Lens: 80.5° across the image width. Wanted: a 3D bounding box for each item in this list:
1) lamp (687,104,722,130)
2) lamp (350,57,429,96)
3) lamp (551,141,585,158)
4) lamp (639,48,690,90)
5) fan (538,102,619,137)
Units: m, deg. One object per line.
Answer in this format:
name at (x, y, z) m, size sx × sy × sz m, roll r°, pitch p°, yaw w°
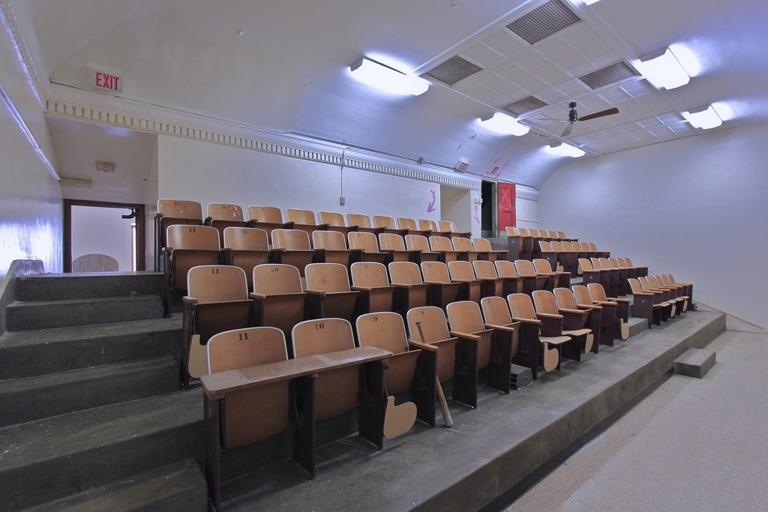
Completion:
lamp at (6.404, -2.766, 9.138) m, size 0.538 × 0.193 × 1.188 m, roll -4°, pitch -1°, yaw 44°
lamp at (0.062, -2.885, 7.333) m, size 1.276 × 0.275 × 0.477 m, roll -2°, pitch -1°, yaw -39°
lamp at (4.565, -2.666, 11.463) m, size 0.696 × 0.285 × 1.033 m, roll -4°, pitch -1°, yaw 41°
lamp at (4.503, -2.991, 7.362) m, size 1.079 × 0.468 × 0.597 m, roll -2°, pitch -1°, yaw -44°
fan at (3.833, -2.617, 8.634) m, size 0.866 × 0.313 × 0.880 m, roll 1°, pitch -34°, yaw -14°
